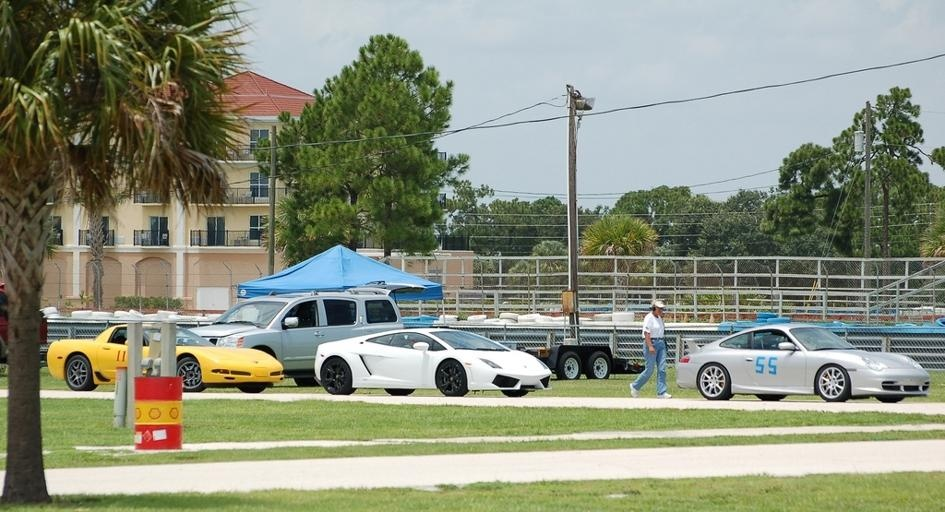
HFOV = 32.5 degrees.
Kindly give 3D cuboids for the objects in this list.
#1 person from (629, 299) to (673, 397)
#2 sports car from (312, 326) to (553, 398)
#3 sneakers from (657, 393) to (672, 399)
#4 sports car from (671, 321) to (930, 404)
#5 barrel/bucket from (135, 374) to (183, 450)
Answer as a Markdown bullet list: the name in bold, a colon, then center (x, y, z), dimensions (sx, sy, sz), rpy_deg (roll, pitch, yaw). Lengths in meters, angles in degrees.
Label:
- **person**: center (5.534, 2.967, 50.519), dimensions (1.577, 3.022, 1.049), rpy_deg (-1, -2, 21)
- **sports car**: center (-1.371, 3.312, 49.971), dimensions (6.762, 2.083, 1.234), rpy_deg (-1, -6, 18)
- **sneakers**: center (5.825, 4.332, 49.648), dimensions (0.467, 0.165, 0.180), rpy_deg (-3, -2, 23)
- **sports car**: center (9.700, 3.251, 48.730), dimensions (6.867, 2.307, 0.907), rpy_deg (-1, -6, 18)
- **barrel/bucket**: center (-7.880, 3.949, 40.459), dimensions (1.004, 1.905, 0.980), rpy_deg (0, 0, 0)
